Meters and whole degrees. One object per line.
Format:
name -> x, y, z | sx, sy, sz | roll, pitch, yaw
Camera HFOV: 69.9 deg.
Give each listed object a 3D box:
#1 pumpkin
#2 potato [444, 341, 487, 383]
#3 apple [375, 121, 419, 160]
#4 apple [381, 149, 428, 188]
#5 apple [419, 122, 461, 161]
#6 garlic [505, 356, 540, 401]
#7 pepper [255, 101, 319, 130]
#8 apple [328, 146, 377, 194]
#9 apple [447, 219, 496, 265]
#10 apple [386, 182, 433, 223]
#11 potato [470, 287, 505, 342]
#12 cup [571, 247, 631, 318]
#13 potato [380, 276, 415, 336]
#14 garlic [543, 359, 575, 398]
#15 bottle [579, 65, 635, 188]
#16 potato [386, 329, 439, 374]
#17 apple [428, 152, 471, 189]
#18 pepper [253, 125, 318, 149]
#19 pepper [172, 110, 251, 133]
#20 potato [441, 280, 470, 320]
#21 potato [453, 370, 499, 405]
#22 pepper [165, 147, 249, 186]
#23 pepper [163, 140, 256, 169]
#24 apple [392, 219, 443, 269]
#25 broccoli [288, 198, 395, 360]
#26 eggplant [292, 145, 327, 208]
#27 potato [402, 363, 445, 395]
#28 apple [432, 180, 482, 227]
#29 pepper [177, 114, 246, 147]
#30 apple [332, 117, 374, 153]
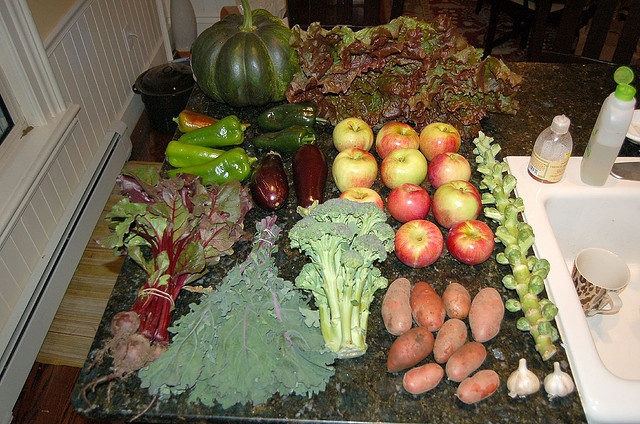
pumpkin -> -0.297, -0.671, 2.065 | 0.444, 0.438, 0.455 | 23, 46, 38
potato -> 0.453, 0.457, 1.430 | 0.146, 0.077, 0.085 | -33, 51, -13
apple -> 0.306, -0.273, 1.885 | 0.138, 0.138, 0.140 | -29, 63, -19
apple -> 0.329, -0.156, 1.795 | 0.178, 0.146, 0.200 | -6, 41, 12
apple -> 0.494, -0.299, 1.856 | 0.156, 0.159, 0.159 | -4, 21, 14
garlic -> 0.621, 0.504, 1.402 | 0.100, 0.107, 0.098 | -12, 3, -33
pepper -> -0.152, -0.386, 1.976 | 0.248, 0.104, 0.140 | 1, 29, -5
apple -> 0.131, -0.151, 1.794 | 0.154, 0.166, 0.158 | 3, 38, 0
apple -> 0.510, 0.096, 1.580 | 0.145, 0.151, 0.146 | 9, 19, 12
apple -> 0.333, -0.040, 1.722 | 0.162, 0.168, 0.165 | 6, 43, 19
potato -> 0.564, 0.310, 1.516 | 0.124, 0.078, 0.215 | 7, 44, 12
cup -> 0.978, 0.240, 1.720 | 0.197, 0.204, 0.259 | -1, 57, 4
potato -> 0.256, 0.305, 1.532 | 0.102, 0.082, 0.225 | 12, 36, 8
garlic -> 0.723, 0.508, 1.377 | 0.087, 0.088, 0.072 | -15, 42, -19
bottle -> 1.063, -0.277, 1.674 | 0.126, 0.372, 0.116 | 1, 39, 0
potato -> 0.267, 0.432, 1.439 | 0.168, 0.105, 0.108 | -21, 33, -15
apple -> 0.481, -0.159, 1.726 | 0.128, 0.136, 0.132 | 0, 20, 4
pepper -> -0.151, -0.287, 1.898 | 0.221, 0.094, 0.105 | -7, 12, 19
pepper -> -0.482, -0.388, 2.028 | 0.399, 0.124, 0.124 | 0, 25, -4
potato -> 0.450, 0.302, 1.516 | 0.088, 0.070, 0.124 | 9, 34, -14
potato -> 0.477, 0.531, 1.397 | 0.144, 0.081, 0.074 | -21, 50, -8
pepper -> -0.448, -0.168, 1.822 | 0.331, 0.149, 0.141 | 0, -5, 0
pepper -> -0.460, -0.234, 1.940 | 0.443, 0.128, 0.137 | 0, 30, -2
apple -> 0.345, 0.105, 1.641 | 0.154, 0.161, 0.153 | -30, 10, 23
broccoli -> 0.081, 0.207, 1.485 | 0.350, 0.320, 0.401 | -2, 40, -5
eggplant -> -0.041, -0.130, 1.785 | 0.093, 0.117, 0.238 | -15, 49, 11
potato -> 0.310, 0.501, 1.376 | 0.116, 0.060, 0.071 | -16, 58, -8
apple -> 0.493, -0.023, 1.725 | 0.158, 0.162, 0.166 | 2, 49, 0
pepper -> -0.444, -0.338, 1.958 | 0.278, 0.118, 0.120 | -2, 20, 2
apple -> 0.132, -0.303, 1.826 | 0.137, 0.141, 0.144 | 5, 59, 1
